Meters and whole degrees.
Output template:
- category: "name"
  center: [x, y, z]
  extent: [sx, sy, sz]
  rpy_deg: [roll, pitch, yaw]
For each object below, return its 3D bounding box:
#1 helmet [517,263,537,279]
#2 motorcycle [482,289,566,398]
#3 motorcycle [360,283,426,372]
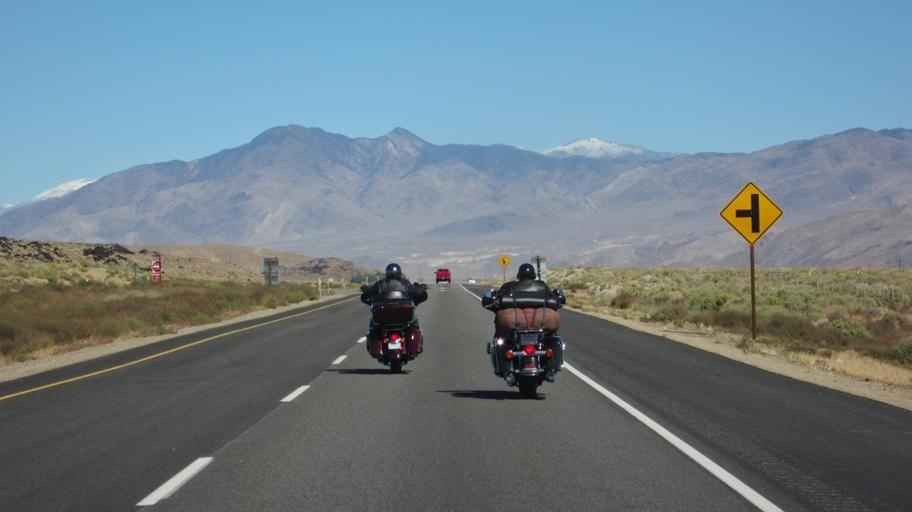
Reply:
- category: "helmet"
  center: [1.850, 0.443, 19.627]
  extent: [0.406, 0.347, 0.438]
  rpy_deg: [3, 14, 7]
- category: "motorcycle"
  center: [1.789, 2.204, 19.397]
  extent: [1.857, 2.931, 1.086]
  rpy_deg: [0, 7, 3]
- category: "motorcycle"
  center: [-1.807, 2.114, 22.205]
  extent: [1.562, 2.649, 1.129]
  rpy_deg: [-3, 8, -20]
